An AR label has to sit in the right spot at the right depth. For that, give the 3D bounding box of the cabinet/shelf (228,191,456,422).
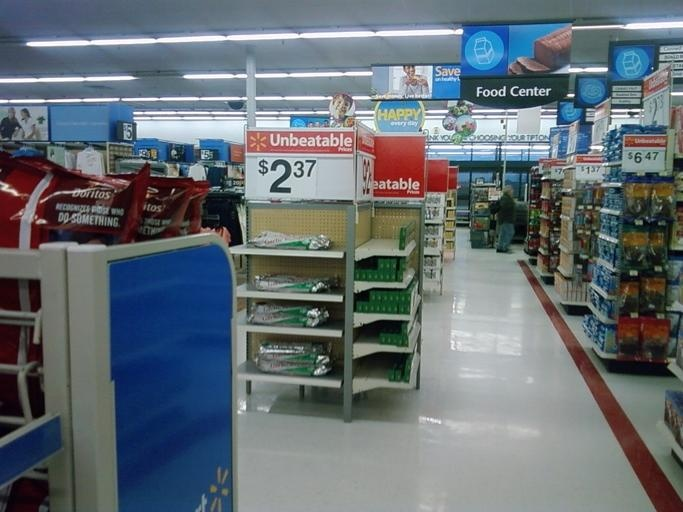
[{"bbox_3d":[-0.091,0.402,4.763,1.569,1.784,1.061,2,8,8],"label":"cabinet/shelf"}]
